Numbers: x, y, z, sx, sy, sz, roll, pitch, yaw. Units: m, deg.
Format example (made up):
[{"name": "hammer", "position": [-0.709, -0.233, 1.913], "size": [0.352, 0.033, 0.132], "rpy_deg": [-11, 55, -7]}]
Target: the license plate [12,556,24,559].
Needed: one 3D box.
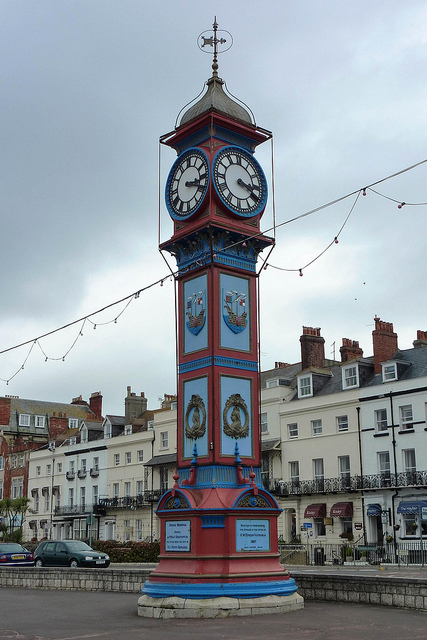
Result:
[{"name": "license plate", "position": [-7.650, 9.264, 33.346], "size": [0.060, 0.110, 0.497], "rpy_deg": [-15, -19, 42]}]

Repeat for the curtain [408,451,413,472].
[{"name": "curtain", "position": [9.652, 6.933, 41.727], "size": [0.196, 0.976, 0.327], "rpy_deg": [-2, -14, 1]}]

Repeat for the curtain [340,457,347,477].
[{"name": "curtain", "position": [6.901, 7.788, 45.073], "size": [0.202, 0.995, 0.440], "rpy_deg": [6, -16, -28]}]

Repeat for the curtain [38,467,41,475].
[{"name": "curtain", "position": [-15.243, 13.200, 74.389], "size": [0.057, 0.604, 0.408], "rpy_deg": [7, -16, -30]}]

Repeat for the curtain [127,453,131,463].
[{"name": "curtain", "position": [-6.193, 10.165, 62.699], "size": [0.109, 0.675, 0.587], "rpy_deg": [5, -15, -24]}]

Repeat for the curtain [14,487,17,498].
[{"name": "curtain", "position": [-18.116, 15.747, 77.803], "size": [0.079, 0.885, 0.506], "rpy_deg": [5, -15, -23]}]

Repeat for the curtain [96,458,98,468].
[{"name": "curtain", "position": [-9.071, 11.069, 66.297], "size": [0.085, 0.574, 0.302], "rpy_deg": [7, -16, -29]}]

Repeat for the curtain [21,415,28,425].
[{"name": "curtain", "position": [-19.767, 10.547, 88.802], "size": [0.971, 1.040, 0.047], "rpy_deg": [7, -16, -34]}]

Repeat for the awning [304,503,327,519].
[{"name": "awning", "position": [5.434, 10.289, 45.721], "size": [1.365, 0.733, 1.021], "rpy_deg": [-5, -1, 31]}]

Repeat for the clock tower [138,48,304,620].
[{"name": "clock tower", "position": [-0.018, -0.559, 19.562], "size": [2.900, 13.661, 3.105], "rpy_deg": [-5, -14, 15]}]

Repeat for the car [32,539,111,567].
[{"name": "car", "position": [-5.311, 8.879, 32.473], "size": [2.576, 0.940, 1.341], "rpy_deg": [-16, -21, 41]}]

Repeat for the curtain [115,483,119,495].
[{"name": "curtain", "position": [-7.263, 12.639, 63.570], "size": [0.064, 0.734, 0.404], "rpy_deg": [8, -17, -34]}]

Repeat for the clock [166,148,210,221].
[{"name": "clock", "position": [-0.585, -3.246, 20.962], "size": [0.132, 1.717, 1.752], "rpy_deg": [24, 33, 30]}]

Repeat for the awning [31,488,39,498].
[{"name": "awning", "position": [-15.609, 15.021, 74.165], "size": [0.659, 0.711, 0.654], "rpy_deg": [-11, -17, 34]}]

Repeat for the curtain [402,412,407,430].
[{"name": "curtain", "position": [9.485, 5.017, 42.139], "size": [0.293, 0.828, 0.207], "rpy_deg": [-12, -18, 37]}]

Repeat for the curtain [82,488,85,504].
[{"name": "curtain", "position": [-10.265, 13.866, 67.301], "size": [0.123, 1.173, 0.577], "rpy_deg": [3, -15, -17]}]

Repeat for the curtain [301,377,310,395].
[{"name": "curtain", "position": [5.311, 3.902, 48.894], "size": [0.044, 1.123, 0.826], "rpy_deg": [11, -17, -32]}]

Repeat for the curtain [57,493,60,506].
[{"name": "curtain", "position": [-12.795, 14.852, 70.333], "size": [0.071, 0.911, 0.422], "rpy_deg": [5, -15, -25]}]

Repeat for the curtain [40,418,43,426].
[{"name": "curtain", "position": [-18.383, 10.954, 90.876], "size": [0.174, 0.845, 0.550], "rpy_deg": [-4, -14, 11]}]

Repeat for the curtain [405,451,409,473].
[{"name": "curtain", "position": [9.509, 6.950, 41.813], "size": [0.151, 0.979, 0.233], "rpy_deg": [-4, -14, 12]}]

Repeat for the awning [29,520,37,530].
[{"name": "awning", "position": [-15.455, 17.513, 73.076], "size": [0.417, 0.787, 1.392], "rpy_deg": [7, -16, -30]}]

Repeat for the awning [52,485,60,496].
[{"name": "awning", "position": [-13.065, 14.078, 70.663], "size": [0.272, 0.713, 0.937], "rpy_deg": [8, -17, -34]}]

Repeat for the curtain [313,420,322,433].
[{"name": "curtain", "position": [5.770, 5.931, 46.908], "size": [0.065, 0.779, 0.700], "rpy_deg": [2, -6, -45]}]

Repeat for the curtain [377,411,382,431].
[{"name": "curtain", "position": [8.515, 5.193, 43.462], "size": [0.268, 0.990, 0.174], "rpy_deg": [-8, -16, 26]}]

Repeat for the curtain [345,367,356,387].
[{"name": "curtain", "position": [7.484, 3.204, 46.316], "size": [0.049, 1.216, 0.899], "rpy_deg": [4, -10, -33]}]

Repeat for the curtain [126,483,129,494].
[{"name": "curtain", "position": [-6.275, 12.308, 62.238], "size": [0.056, 0.753, 0.361], "rpy_deg": [12, -19, -43]}]

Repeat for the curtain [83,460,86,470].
[{"name": "curtain", "position": [-10.291, 11.556, 67.904], "size": [0.079, 0.751, 0.539], "rpy_deg": [7, -16, -31]}]

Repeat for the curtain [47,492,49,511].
[{"name": "curtain", "position": [-13.967, 15.419, 71.915], "size": [0.114, 1.278, 0.450], "rpy_deg": [3, -15, -17]}]

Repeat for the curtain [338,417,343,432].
[{"name": "curtain", "position": [6.796, 5.641, 45.547], "size": [0.275, 0.782, 0.265], "rpy_deg": [-8, -15, 23]}]

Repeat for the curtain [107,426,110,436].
[{"name": "curtain", "position": [-8.139, 8.651, 66.049], "size": [0.045, 0.738, 0.344], "rpy_deg": [8, -17, -32]}]

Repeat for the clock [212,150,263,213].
[{"name": "clock", "position": [0.622, -3.306, 20.827], "size": [1.706, 1.677, 0.093], "rpy_deg": [-25, 5, -41]}]

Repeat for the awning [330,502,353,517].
[{"name": "awning", "position": [6.674, 9.866, 44.432], "size": [0.646, 0.728, 1.208], "rpy_deg": [7, -16, -30]}]

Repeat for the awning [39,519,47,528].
[{"name": "awning", "position": [-14.294, 17.051, 71.554], "size": [0.300, 0.659, 1.188], "rpy_deg": [6, -16, -28]}]

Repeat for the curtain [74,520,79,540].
[{"name": "curtain", "position": [-10.707, 16.311, 66.722], "size": [0.210, 1.318, 0.912], "rpy_deg": [4, -15, -22]}]

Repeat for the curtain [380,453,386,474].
[{"name": "curtain", "position": [8.527, 7.245, 42.895], "size": [0.321, 0.959, 0.288], "rpy_deg": [-12, -17, 37]}]

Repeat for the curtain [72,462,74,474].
[{"name": "curtain", "position": [-11.426, 12.046, 69.299], "size": [0.108, 0.864, 0.381], "rpy_deg": [3, -15, -18]}]

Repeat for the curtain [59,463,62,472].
[{"name": "curtain", "position": [-12.736, 12.311, 70.963], "size": [0.062, 0.722, 0.528], "rpy_deg": [9, -17, -35]}]

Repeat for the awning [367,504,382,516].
[{"name": "awning", "position": [8.082, 9.520, 42.772], "size": [0.375, 0.540, 0.984], "rpy_deg": [3, -15, -19]}]

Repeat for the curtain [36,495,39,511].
[{"name": "curtain", "position": [-15.172, 15.863, 73.493], "size": [0.052, 1.102, 0.579], "rpy_deg": [8, -17, -32]}]

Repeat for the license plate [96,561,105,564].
[{"name": "license plate", "position": [-4.189, 8.936, 31.509], "size": [0.046, 0.103, 0.401], "rpy_deg": [-11, -17, 35]}]
